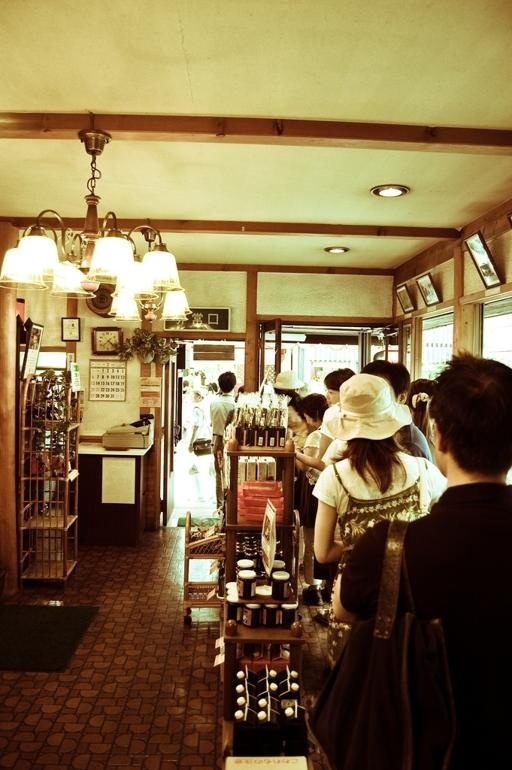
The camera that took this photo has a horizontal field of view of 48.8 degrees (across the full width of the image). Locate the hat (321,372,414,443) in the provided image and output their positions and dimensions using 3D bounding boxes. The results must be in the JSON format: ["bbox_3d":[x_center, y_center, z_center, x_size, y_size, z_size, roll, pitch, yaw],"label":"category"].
[{"bbox_3d":[0.422,0.148,2.074,0.288,0.150,0.328,-17,29,13],"label":"hat"}]

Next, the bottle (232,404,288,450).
[{"bbox_3d":[0.021,0.186,2.518,0.177,0.146,0.185,1,-3,0],"label":"bottle"}]

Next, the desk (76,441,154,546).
[{"bbox_3d":[-1.482,1.143,5.829,0.657,0.995,1.021,-1,-3,-6],"label":"desk"}]

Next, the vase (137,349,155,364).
[{"bbox_3d":[-1.204,-0.317,6.221,0.124,0.111,0.143,1,-6,-3],"label":"vase"}]

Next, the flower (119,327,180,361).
[{"bbox_3d":[-1.201,-0.430,6.251,0.632,0.386,0.275,0,0,-12],"label":"flower"}]

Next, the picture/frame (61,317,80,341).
[{"bbox_3d":[-2.030,-0.618,6.186,0.233,0.353,0.035,0,6,0],"label":"picture/frame"}]

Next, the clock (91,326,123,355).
[{"bbox_3d":[-1.645,-0.501,6.226,0.284,0.312,0.030,2,1,-14],"label":"clock"}]

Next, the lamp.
[{"bbox_3d":[-0.945,-0.994,3.349,0.810,0.790,0.907,1,7,-13],"label":"lamp"}]

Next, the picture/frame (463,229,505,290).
[{"bbox_3d":[1.639,-0.904,4.034,0.037,0.530,0.384,-20,-30,4],"label":"picture/frame"}]
